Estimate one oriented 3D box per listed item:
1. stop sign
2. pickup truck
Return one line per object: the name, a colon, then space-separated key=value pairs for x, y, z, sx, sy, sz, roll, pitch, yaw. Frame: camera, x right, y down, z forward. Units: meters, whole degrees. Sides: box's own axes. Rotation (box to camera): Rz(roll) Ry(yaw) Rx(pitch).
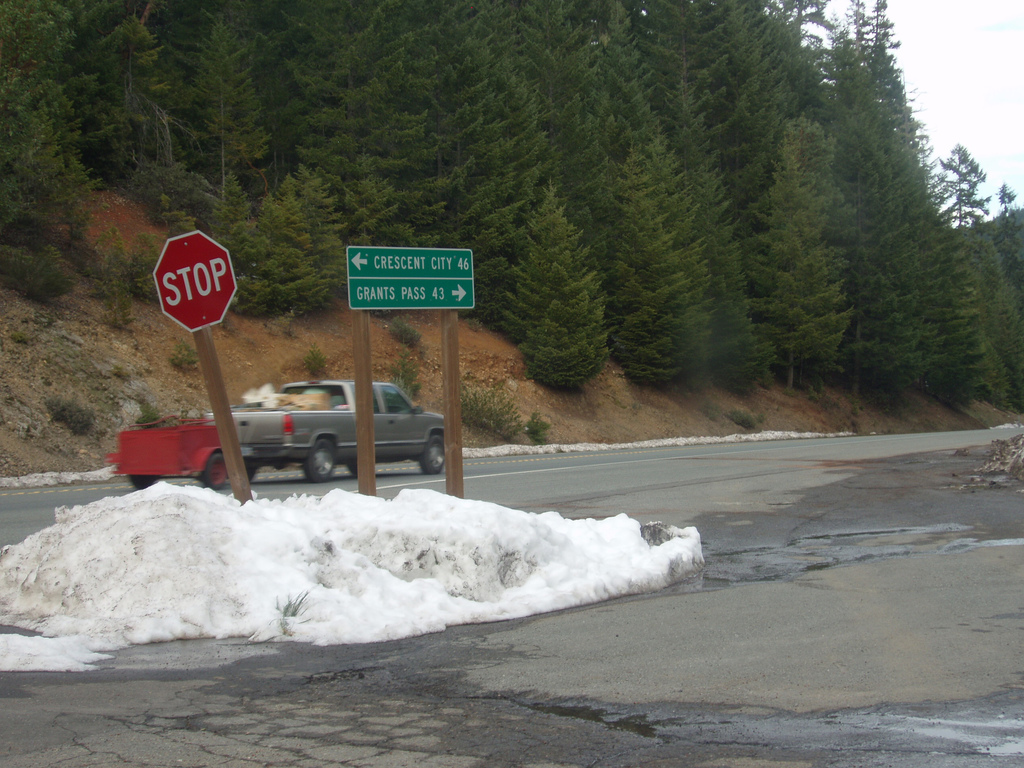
stop sign: x=-3.503 y=-1.120 z=12.090 sx=0.827 sy=1.115 sz=0.513 roll=0 pitch=2 yaw=-6
pickup truck: x=-3.595 y=1.019 z=23.453 sx=2.199 sy=2.068 sz=5.060 roll=-1 pitch=-1 yaw=38
